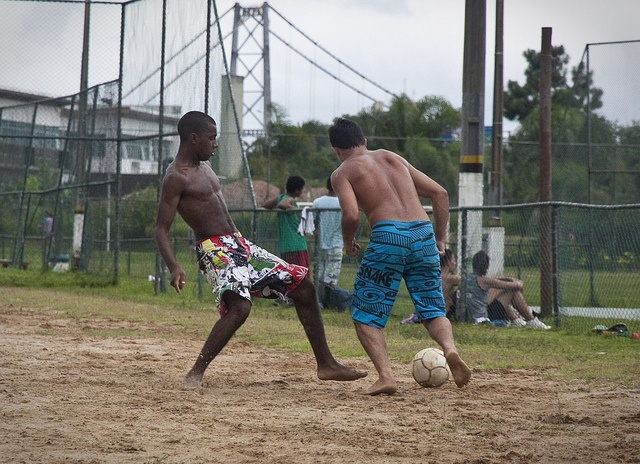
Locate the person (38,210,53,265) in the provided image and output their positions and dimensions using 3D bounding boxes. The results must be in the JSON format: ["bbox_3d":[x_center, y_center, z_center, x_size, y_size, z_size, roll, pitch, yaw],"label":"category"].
[{"bbox_3d":[-5.285,0.182,23.371,0.230,1.024,0.561,0,0,-14],"label":"person"}]

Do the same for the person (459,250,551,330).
[{"bbox_3d":[2.862,0.947,18.682,1.266,1.237,0.803,1,-1,-18],"label":"person"}]

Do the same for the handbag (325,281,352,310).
[{"bbox_3d":[0.259,1.140,19.644,0.427,0.522,0.288,5,-8,22],"label":"handbag"}]

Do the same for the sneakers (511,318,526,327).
[{"bbox_3d":[2.980,1.447,18.105,0.136,0.130,0.127,-6,-16,14],"label":"sneakers"}]

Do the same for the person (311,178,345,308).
[{"bbox_3d":[0.105,0.088,20.271,0.636,2.412,0.620,-5,34,-6],"label":"person"}]
